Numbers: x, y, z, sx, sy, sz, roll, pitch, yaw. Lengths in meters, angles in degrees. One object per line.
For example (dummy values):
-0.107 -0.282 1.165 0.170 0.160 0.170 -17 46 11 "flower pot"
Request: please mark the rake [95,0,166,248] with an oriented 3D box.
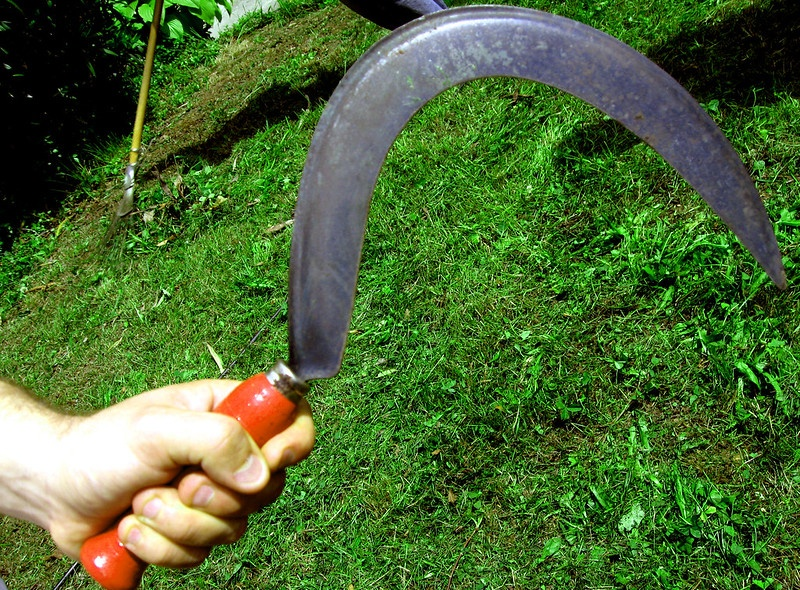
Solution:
-1.885 -1.185 4.881 0.263 0.271 2.138 20 98 64 "rake"
